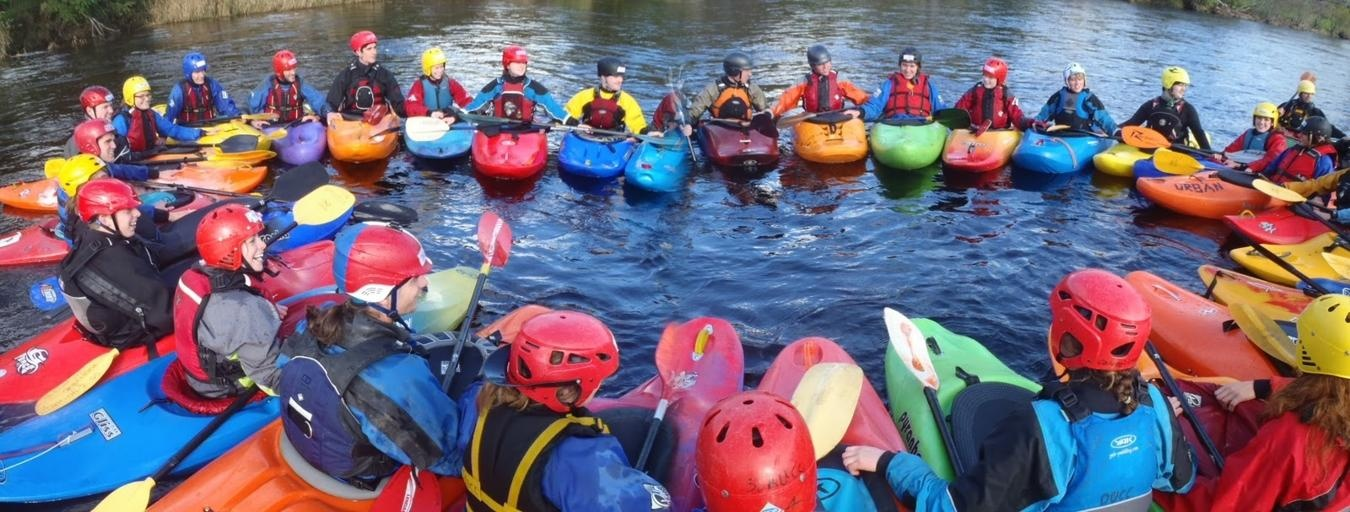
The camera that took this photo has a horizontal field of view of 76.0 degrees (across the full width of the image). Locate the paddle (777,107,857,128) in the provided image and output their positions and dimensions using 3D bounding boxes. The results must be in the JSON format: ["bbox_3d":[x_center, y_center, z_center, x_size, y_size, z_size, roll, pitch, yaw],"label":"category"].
[{"bbox_3d":[4.264,-4.288,27.032,2.948,0.593,0.335,-1,-6,9],"label":"paddle"}]

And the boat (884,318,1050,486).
[{"bbox_3d":[6.189,3.097,21.130,2.901,1.465,4.320,-10,47,-7],"label":"boat"}]

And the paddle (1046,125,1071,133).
[{"bbox_3d":[11.656,-3.884,26.418,0.342,0.099,0.518,-11,12,-32],"label":"paddle"}]

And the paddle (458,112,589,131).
[{"bbox_3d":[-4.687,-4.066,26.259,3.545,0.268,0.403,5,-14,-2],"label":"paddle"}]

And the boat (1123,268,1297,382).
[{"bbox_3d":[12.823,1.768,21.461,3.785,1.019,1.818,29,38,26],"label":"boat"}]

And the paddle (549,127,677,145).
[{"bbox_3d":[-1.699,-3.633,26.107,4.171,0.177,0.518,5,51,-2],"label":"paddle"}]

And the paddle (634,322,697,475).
[{"bbox_3d":[-0.138,3.433,20.204,0.896,0.539,3.368,13,62,29],"label":"paddle"}]

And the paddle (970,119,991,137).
[{"bbox_3d":[9.398,-3.942,26.598,0.466,0.145,0.689,-9,21,47],"label":"paddle"}]
